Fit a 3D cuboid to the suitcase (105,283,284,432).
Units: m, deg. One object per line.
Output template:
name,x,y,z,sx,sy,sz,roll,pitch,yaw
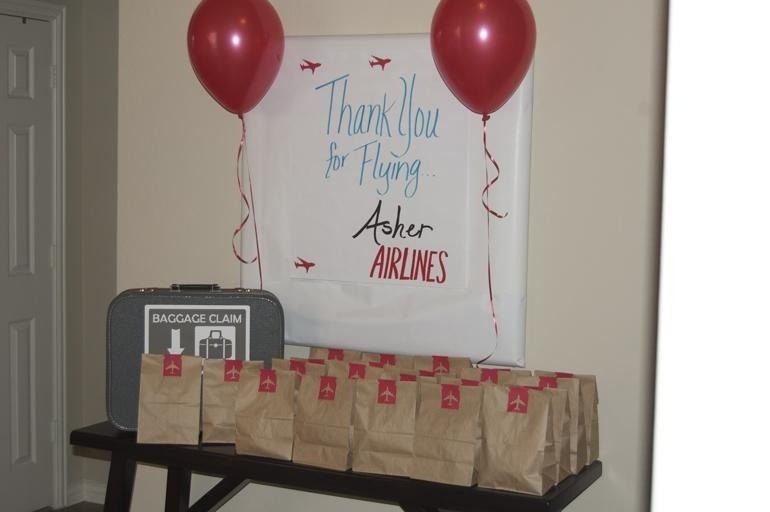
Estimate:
suitcase,-0.650,0.359,2.233,0.379,0.381,0.138,1,-8,-3
